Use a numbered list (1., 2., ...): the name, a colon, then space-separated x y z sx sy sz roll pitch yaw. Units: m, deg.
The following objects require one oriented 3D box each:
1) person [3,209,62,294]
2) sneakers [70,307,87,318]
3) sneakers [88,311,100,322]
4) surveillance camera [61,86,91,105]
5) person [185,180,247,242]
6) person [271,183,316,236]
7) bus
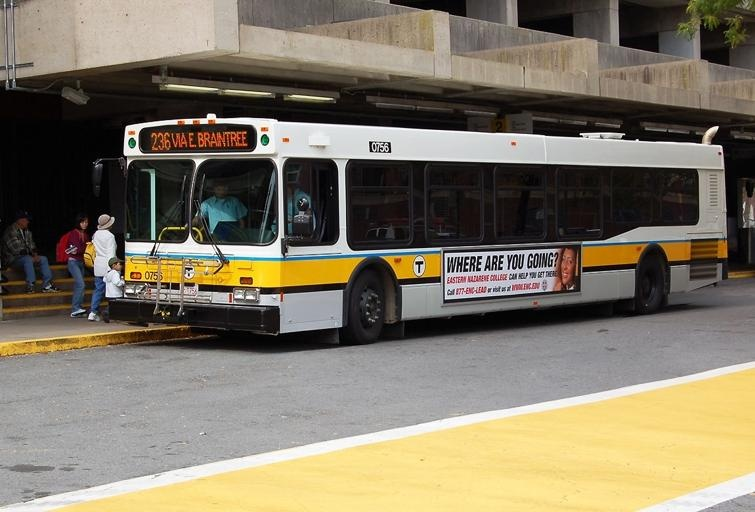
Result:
1. person: -7.742 -0.089 18.287 0.919 1.754 0.875 -4 5 -39
2. sneakers: -6.193 1.176 17.311 0.384 0.139 0.175 -19 36 14
3. sneakers: -5.641 1.203 16.505 0.153 0.162 0.234 3 -8 5
4. surveillance camera: -6.449 -3.462 17.646 0.471 0.371 0.942 -2 4 -22
5. person: -2.605 -0.738 13.628 0.680 1.327 0.443 -6 -15 10
6. person: -1.227 -0.756 13.464 0.574 0.818 0.257 -4 5 -44
7. bus: 2.002 -0.608 17.324 14.490 4.111 2.941 -4 5 -35
